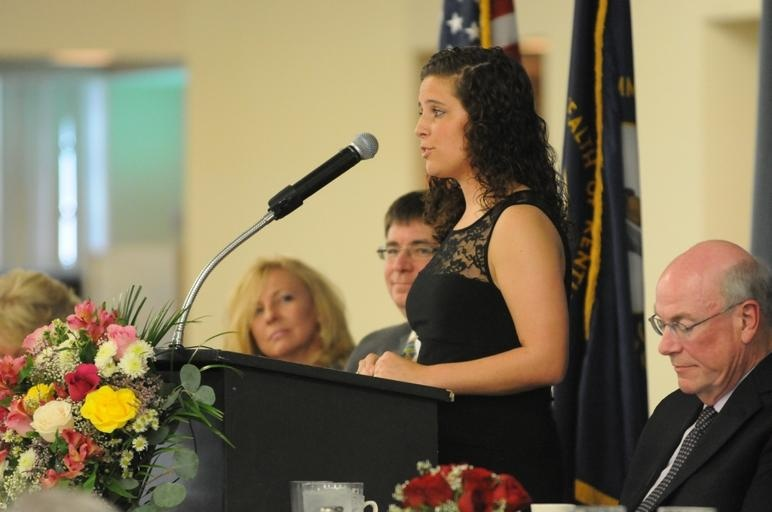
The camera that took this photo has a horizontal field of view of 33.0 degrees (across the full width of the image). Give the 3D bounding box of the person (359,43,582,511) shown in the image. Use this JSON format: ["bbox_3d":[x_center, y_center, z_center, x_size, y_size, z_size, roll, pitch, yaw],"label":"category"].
[{"bbox_3d":[0.342,0.056,4.692,0.636,1.655,0.457,-1,2,6],"label":"person"}]

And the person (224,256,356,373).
[{"bbox_3d":[-0.512,0.347,6.750,0.457,0.737,0.475,-21,-11,34],"label":"person"}]
